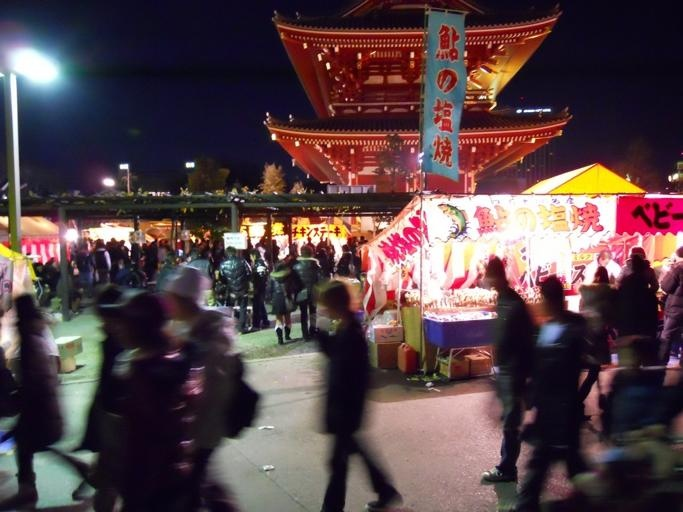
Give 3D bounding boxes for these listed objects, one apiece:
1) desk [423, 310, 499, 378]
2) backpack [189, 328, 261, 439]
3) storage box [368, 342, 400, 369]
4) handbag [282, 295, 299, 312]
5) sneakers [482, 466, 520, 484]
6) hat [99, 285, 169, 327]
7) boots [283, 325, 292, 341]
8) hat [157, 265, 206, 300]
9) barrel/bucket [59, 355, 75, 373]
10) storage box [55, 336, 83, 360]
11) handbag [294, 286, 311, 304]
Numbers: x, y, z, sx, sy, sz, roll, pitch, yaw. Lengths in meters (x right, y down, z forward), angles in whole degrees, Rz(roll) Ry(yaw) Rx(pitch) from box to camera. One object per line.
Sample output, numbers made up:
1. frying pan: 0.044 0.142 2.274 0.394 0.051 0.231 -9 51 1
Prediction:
1. desk: 1.880 1.215 9.828 1.105 0.959 1.301 0 -4 -2
2. backpack: -1.107 1.207 5.786 0.675 1.078 0.258 -1 1 -42
3. storage box: 0.686 1.624 10.237 0.427 0.410 0.431 0 -3 8
4. handbag: -0.978 0.917 11.826 0.224 0.397 0.307 2 -4 1
5. sneakers: 1.744 2.471 6.980 0.423 0.202 0.162 3 -5 3
6. hat: -1.937 0.457 5.688 0.354 0.293 1.010 -1 1 -37
7. boots: -1.025 1.535 12.261 0.169 0.270 0.297 1 -7 3
8. hat: -1.502 0.276 6.016 0.455 0.352 0.424 -1 1 -13
9. barrel/bucket: -4.361 1.739 10.017 0.238 0.244 0.234 0 4 0
10. storage box: -4.389 1.394 10.085 0.324 0.267 0.558 -3 3 -9
11. handbag: -0.727 0.765 11.940 0.299 0.294 0.089 2 -7 -24
